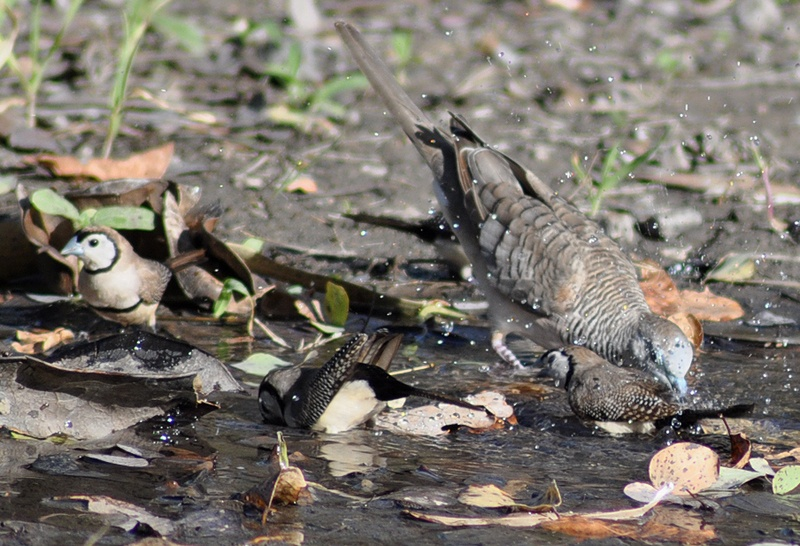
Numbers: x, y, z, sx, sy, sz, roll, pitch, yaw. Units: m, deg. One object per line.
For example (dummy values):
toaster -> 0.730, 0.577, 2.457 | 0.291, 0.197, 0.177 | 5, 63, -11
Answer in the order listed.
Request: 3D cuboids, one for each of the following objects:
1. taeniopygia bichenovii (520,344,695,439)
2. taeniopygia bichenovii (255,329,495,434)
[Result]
taeniopygia bichenovii -> 1.076, 0.582, 4.821 | 0.881, 0.385, 0.316 | 5, 12, 15
taeniopygia bichenovii -> -0.274, 0.518, 4.423 | 1.201, 0.421, 0.392 | -15, 2, 34
